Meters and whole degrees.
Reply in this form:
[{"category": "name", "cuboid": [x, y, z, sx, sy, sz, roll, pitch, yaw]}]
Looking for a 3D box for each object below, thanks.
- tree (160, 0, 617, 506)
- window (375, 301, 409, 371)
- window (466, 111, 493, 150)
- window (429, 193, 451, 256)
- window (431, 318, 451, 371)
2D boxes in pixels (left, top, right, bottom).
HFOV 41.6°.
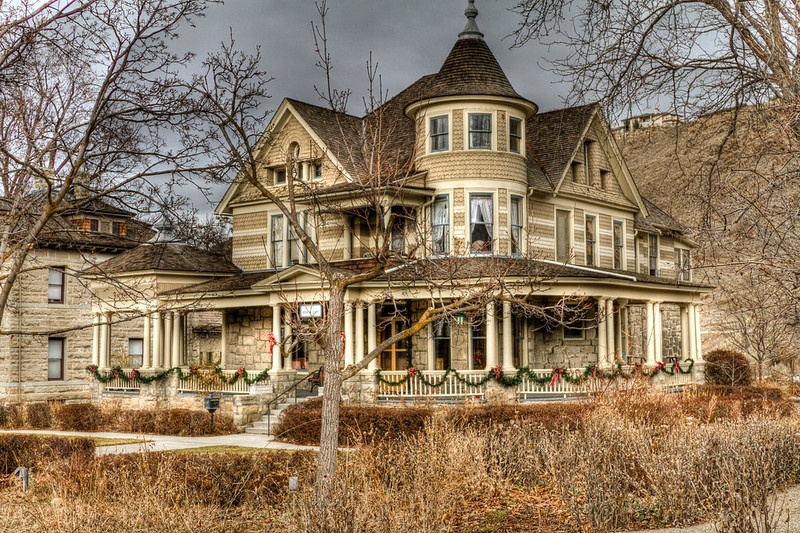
[{"category": "tree", "cuboid": [-0.070, -1.668, 41.915, 15.573, 12.796, 17.163, -1, -1, 30]}, {"category": "window", "cuboid": [-0.228, 2.763, 40.506, 1.268, 3.130, 0.096, 0, -35, -2]}, {"category": "window", "cuboid": [3.008, -5.248, 40.095, 1.318, 2.130, 0.263, 0, 4, -1]}, {"category": "window", "cuboid": [1.547, -1.584, 39.973, 0.691, 2.446, 1.207, -1, -11, 1]}, {"category": "window", "cuboid": [1.613, 2.601, 39.901, 0.735, 2.263, 0.195, -1, -51, -1]}]
